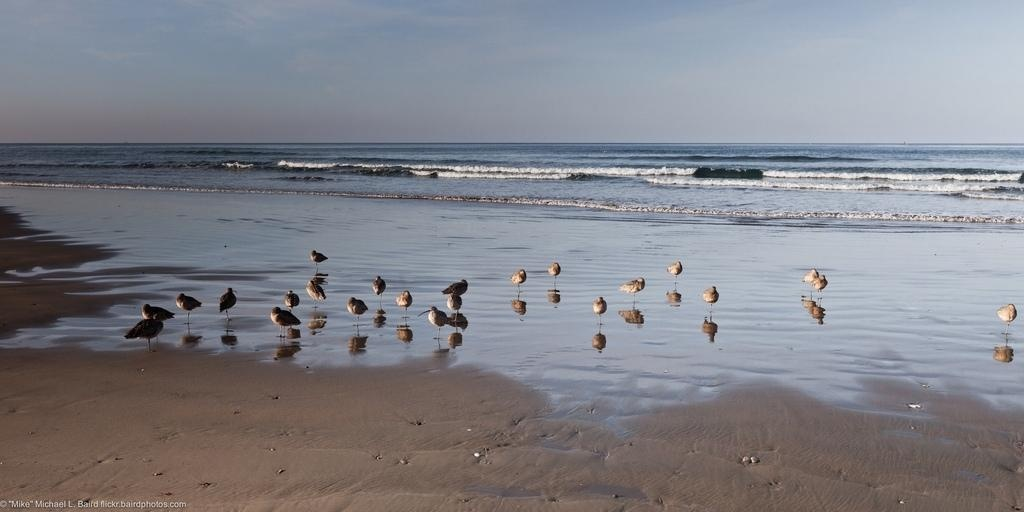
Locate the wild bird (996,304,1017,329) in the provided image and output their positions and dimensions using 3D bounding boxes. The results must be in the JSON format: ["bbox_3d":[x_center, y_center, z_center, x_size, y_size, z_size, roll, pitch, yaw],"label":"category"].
[{"bbox_3d":[13.449,1.576,23.286,0.579,0.535,0.815,-3,3,11],"label":"wild bird"}]

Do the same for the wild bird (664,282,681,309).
[{"bbox_3d":[4.749,1.196,25.059,0.407,0.389,0.665,9,23,25],"label":"wild bird"}]

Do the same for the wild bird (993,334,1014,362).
[{"bbox_3d":[12.633,2.454,21.998,0.462,0.652,0.277,6,-39,12],"label":"wild bird"}]

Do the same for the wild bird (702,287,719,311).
[{"bbox_3d":[5.627,1.154,24.374,0.478,0.430,0.759,2,1,9],"label":"wild bird"}]

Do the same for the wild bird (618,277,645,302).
[{"bbox_3d":[3.529,0.936,25.023,0.625,0.607,0.703,3,9,4],"label":"wild bird"}]

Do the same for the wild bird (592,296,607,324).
[{"bbox_3d":[2.436,1.426,23.606,0.364,0.622,0.777,3,9,6],"label":"wild bird"}]

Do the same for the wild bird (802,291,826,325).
[{"bbox_3d":[8.456,1.537,24.205,0.438,0.500,0.910,1,16,0],"label":"wild bird"}]
